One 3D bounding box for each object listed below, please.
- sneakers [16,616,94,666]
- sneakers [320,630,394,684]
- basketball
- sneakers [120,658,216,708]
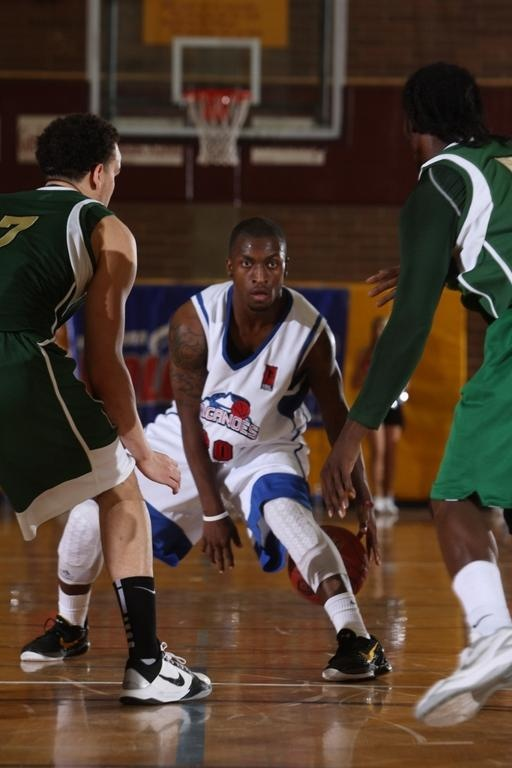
[{"bbox_3d":[-0.542,0.689,2.302,0.098,0.101,0.246,-2,-10,25],"label":"sneakers"},{"bbox_3d":[0.242,0.657,2.046,0.092,0.086,0.185,-13,-19,26],"label":"sneakers"},{"bbox_3d":[0.222,0.489,2.289,0.232,0.234,0.217,-2,-10,-1],"label":"basketball"},{"bbox_3d":[-0.206,0.650,1.895,0.101,0.115,0.262,-12,-19,30],"label":"sneakers"}]
